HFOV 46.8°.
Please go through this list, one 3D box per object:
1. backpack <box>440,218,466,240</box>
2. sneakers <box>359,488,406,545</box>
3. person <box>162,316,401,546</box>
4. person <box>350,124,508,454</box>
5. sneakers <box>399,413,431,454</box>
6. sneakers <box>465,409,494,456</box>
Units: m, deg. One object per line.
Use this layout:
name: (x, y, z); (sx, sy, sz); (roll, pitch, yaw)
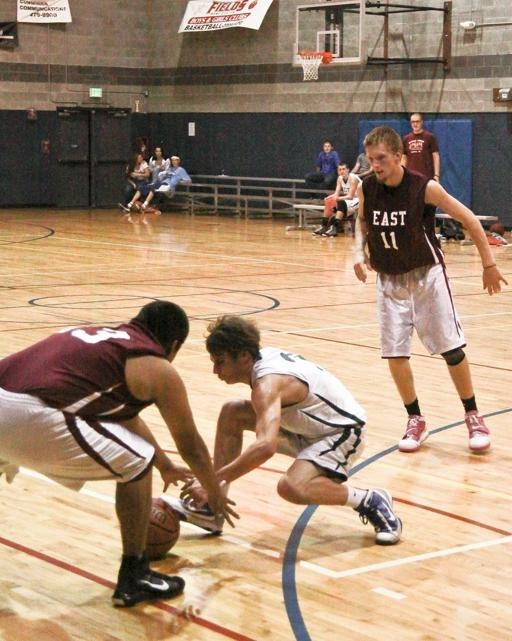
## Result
backpack: (4.591, -2.112, 14.068); (0.457, 0.570, 0.579); (4, 5, 6)
sneakers: (0.428, 0.674, 2.161); (0.124, 0.089, 0.269); (4, 36, -19)
person: (0.099, 0.394, 2.080); (0.848, 0.715, 0.465); (3, -6, 4)
person: (0.912, -0.144, 3.187); (0.742, 1.713, 0.647); (1, -3, 6)
sneakers: (0.859, 0.633, 3.208); (0.096, 0.126, 0.283); (-3, 0, 23)
sneakers: (1.182, 0.610, 3.192); (0.095, 0.112, 0.277); (-11, 2, 6)
